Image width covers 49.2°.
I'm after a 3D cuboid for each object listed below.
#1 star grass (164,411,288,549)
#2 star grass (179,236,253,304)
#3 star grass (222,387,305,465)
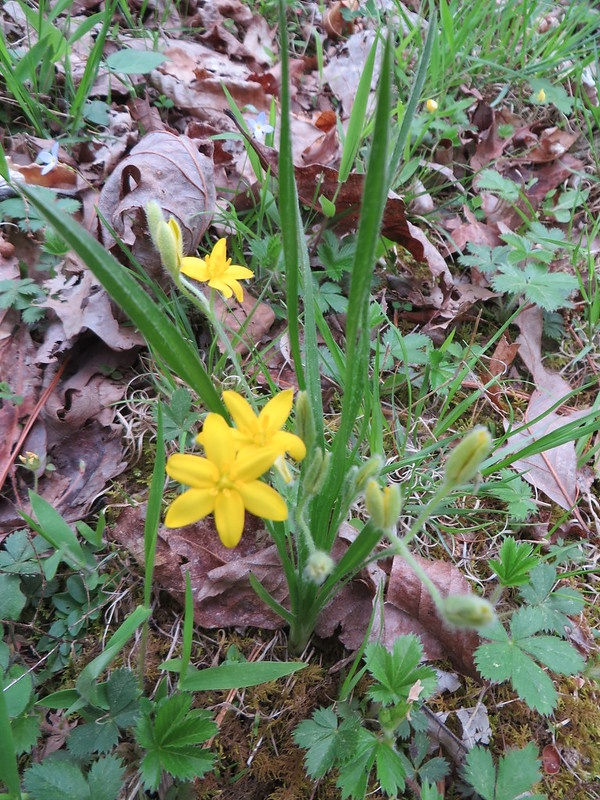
[{"bbox_3d":[-0.153,0.169,1.332,0.302,0.265,0.044,6,4,35],"label":"star grass"},{"bbox_3d":[-0.228,-0.363,1.766,0.189,0.210,0.089,14,76,-5],"label":"star grass"},{"bbox_3d":[-0.084,0.048,1.456,0.164,0.074,0.162,30,54,-8],"label":"star grass"}]
